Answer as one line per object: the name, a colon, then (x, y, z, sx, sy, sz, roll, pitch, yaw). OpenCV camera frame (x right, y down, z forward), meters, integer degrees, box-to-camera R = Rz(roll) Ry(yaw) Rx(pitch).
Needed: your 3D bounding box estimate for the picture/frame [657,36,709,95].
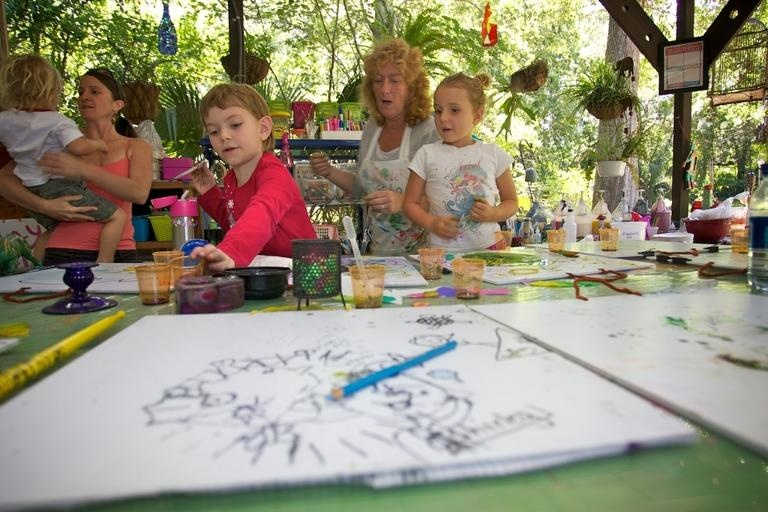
picture/frame: (2.098, -1.335, 3.482, 0.038, 0.350, 0.315, -23, 22, -33)

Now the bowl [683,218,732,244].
bowl: (1.538, -0.117, 2.377, 0.132, 0.074, 0.127, 0, 1, 0)

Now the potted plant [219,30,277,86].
potted plant: (-1.073, -1.351, 3.882, 0.419, 0.303, 0.370, -3, -41, -9)

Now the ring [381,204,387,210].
ring: (0.000, -0.196, 1.959, 0.010, 0.010, 0.017, 33, 1, 9)

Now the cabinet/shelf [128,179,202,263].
cabinet/shelf: (-0.787, -0.116, 1.939, 0.254, 0.211, 0.242, 19, -8, -25)

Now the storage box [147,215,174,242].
storage box: (-1.367, -0.172, 3.061, 0.206, 0.158, 0.217, 0, -2, -42)

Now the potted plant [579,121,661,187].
potted plant: (2.272, -1.139, 4.924, 0.571, 0.748, 2.636, -1, 2, 25)

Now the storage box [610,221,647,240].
storage box: (1.349, -0.142, 2.753, 0.173, 0.116, 0.076, -1, 0, 4)

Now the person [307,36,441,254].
person: (0.003, -0.296, 2.550, 0.603, 1.418, 0.507, 5, 22, 18)

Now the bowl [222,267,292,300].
bowl: (-0.305, 0.065, 1.194, 0.154, 0.073, 0.123, -3, 2, -17)

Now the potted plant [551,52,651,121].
potted plant: (1.789, -1.340, 4.084, 0.596, 0.403, 0.613, -5, 21, -17)

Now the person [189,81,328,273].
person: (-0.413, -0.283, 1.640, 0.413, 0.612, 0.933, -3, 2, -20)
